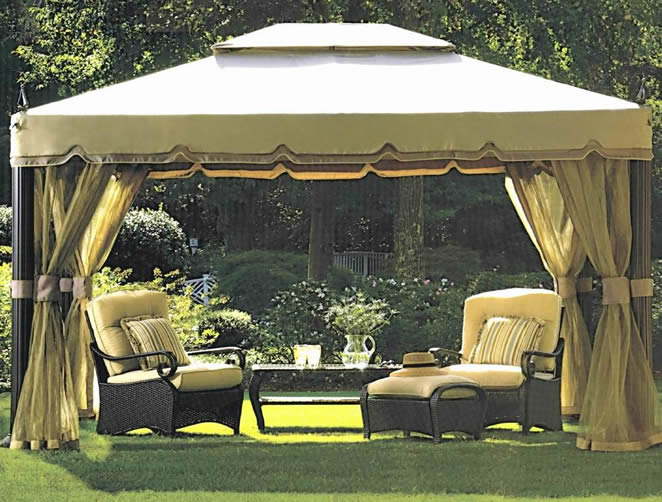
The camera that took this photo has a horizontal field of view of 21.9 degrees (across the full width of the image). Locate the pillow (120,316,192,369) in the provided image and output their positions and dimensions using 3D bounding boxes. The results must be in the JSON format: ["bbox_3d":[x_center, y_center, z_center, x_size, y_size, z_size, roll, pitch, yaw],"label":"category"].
[{"bbox_3d":[-1.894,0.968,18.286,0.162,0.585,0.549,-34,-21,28],"label":"pillow"}]

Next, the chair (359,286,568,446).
[{"bbox_3d":[1.461,1.214,18.330,2.100,1.801,1.397,4,-7,-42],"label":"chair"}]

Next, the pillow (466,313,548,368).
[{"bbox_3d":[1.871,0.986,18.450,0.138,0.593,0.572,32,-18,-37],"label":"pillow"}]

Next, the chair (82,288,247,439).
[{"bbox_3d":[-1.784,1.229,18.289,1.420,1.690,1.194,-6,-6,29],"label":"chair"}]
